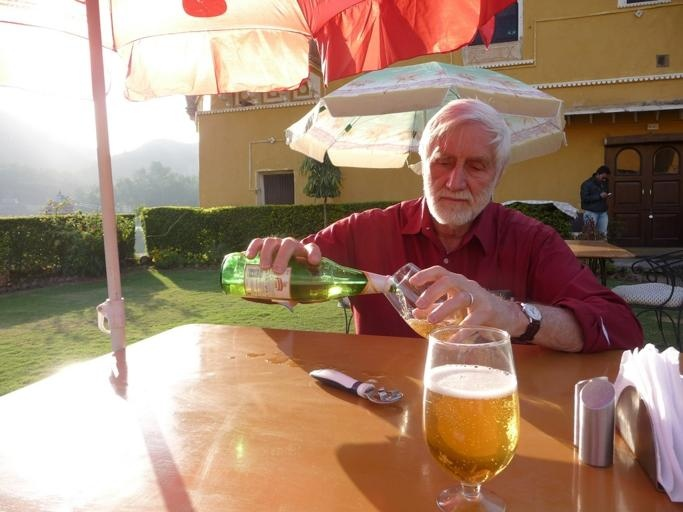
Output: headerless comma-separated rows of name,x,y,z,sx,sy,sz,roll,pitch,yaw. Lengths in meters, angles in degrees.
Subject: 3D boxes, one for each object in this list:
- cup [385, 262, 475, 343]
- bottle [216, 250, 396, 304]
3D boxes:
cup,0.292,0.174,1.769,0.154,0.182,0.263,-10,53,-38
bottle,-0.151,0.094,2.066,0.651,0.214,0.361,-1,6,-10
